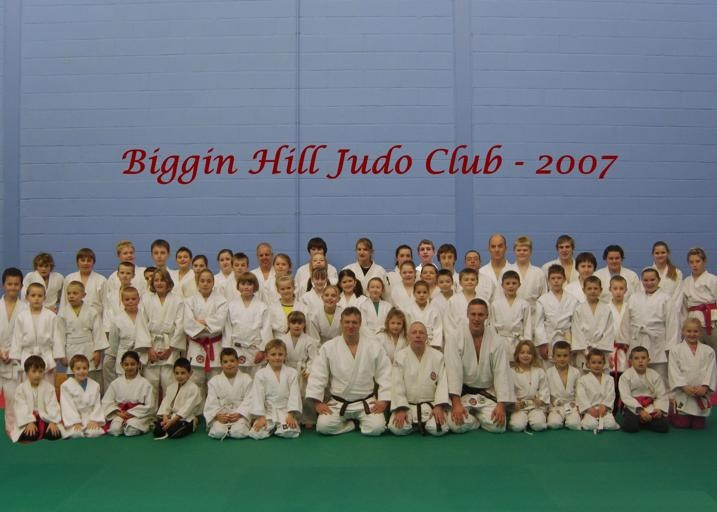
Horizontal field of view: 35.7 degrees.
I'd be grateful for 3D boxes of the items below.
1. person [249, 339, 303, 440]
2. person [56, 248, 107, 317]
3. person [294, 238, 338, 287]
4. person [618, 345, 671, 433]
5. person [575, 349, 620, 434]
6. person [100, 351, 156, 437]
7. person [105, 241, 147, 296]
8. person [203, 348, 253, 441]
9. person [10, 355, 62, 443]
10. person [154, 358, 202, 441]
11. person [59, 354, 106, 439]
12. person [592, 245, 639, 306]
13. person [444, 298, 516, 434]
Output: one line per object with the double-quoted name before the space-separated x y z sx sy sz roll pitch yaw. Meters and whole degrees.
"person" -1.104 1.731 14.690 0.840 1.225 0.749 -7 13 -31
"person" -4.085 0.380 16.429 0.897 1.216 0.417 -1 -10 -14
"person" -0.639 0.073 16.934 0.698 1.016 0.354 -1 -1 -4
"person" 3.785 1.753 14.806 0.661 1.108 0.357 0 0 10
"person" 3.164 1.767 14.822 0.504 1.069 0.308 0 0 -15
"person" -3.074 1.801 14.816 0.667 1.059 0.743 2 4 43
"person" -3.418 0.361 16.402 0.623 1.205 0.357 -1 -2 -15
"person" -1.712 1.809 14.716 0.644 1.118 0.744 4 13 41
"person" -4.233 1.856 14.634 0.657 1.016 0.338 0 0 -15
"person" -2.423 1.863 14.783 0.668 0.999 0.576 -7 10 -44
"person" -3.657 1.827 14.742 0.581 0.944 0.365 0 0 -9
"person" 3.729 0.278 16.299 0.799 1.109 0.426 -1 -4 13
"person" 1.587 1.470 14.855 0.952 1.718 0.954 0 2 3
